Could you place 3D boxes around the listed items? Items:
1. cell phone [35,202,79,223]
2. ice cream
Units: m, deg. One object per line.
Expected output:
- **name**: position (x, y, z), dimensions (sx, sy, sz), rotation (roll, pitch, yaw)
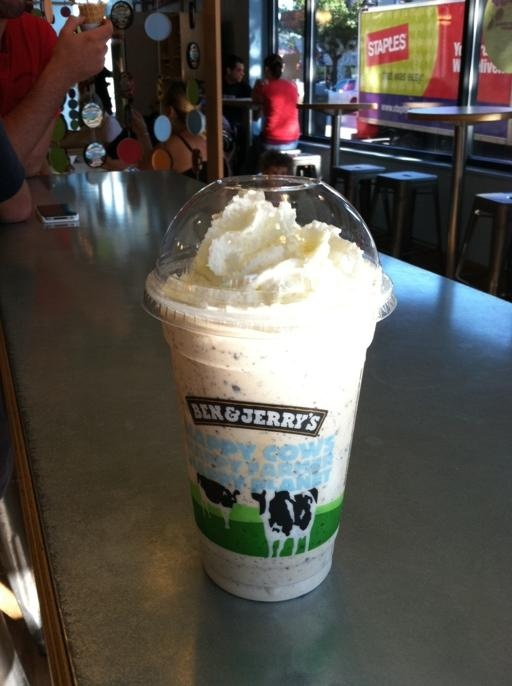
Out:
- **cell phone**: position (-0.489, -0.321, 1.398), dimensions (0.094, 0.024, 0.183), rotation (-10, 27, -19)
- **ice cream**: position (0.012, 0.015, 0.383), dimensions (0.163, 0.230, 0.196), rotation (-5, 26, -9)
